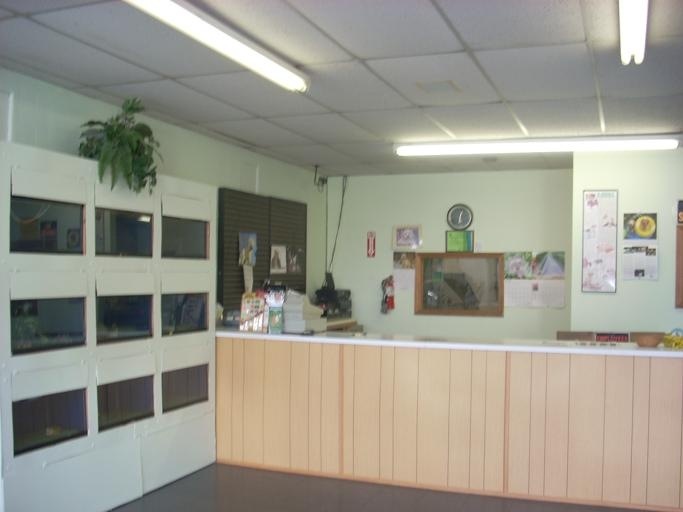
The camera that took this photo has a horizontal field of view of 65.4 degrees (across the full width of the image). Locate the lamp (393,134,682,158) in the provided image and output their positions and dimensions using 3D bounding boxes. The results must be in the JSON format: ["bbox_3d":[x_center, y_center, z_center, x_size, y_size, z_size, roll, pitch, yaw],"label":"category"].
[{"bbox_3d":[2.069,-1.192,5.696,2.822,0.121,0.387,0,-2,10],"label":"lamp"}]

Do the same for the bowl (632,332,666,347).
[{"bbox_3d":[2.911,0.789,5.024,0.179,0.084,0.187,0,-5,0],"label":"bowl"}]

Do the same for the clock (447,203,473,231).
[{"bbox_3d":[1.706,-0.562,7.595,0.308,0.331,0.055,12,5,15],"label":"clock"}]
